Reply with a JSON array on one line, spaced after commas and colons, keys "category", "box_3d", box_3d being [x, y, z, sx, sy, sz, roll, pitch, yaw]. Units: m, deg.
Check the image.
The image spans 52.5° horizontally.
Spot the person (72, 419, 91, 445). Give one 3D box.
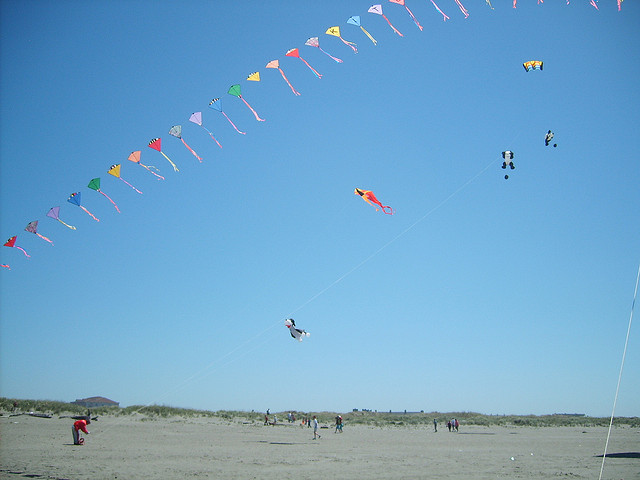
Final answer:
[{"category": "person", "box_3d": [-15.020, 11.957, 40.372, 0.862, 1.489, 1.176, 10, -18, -19]}]

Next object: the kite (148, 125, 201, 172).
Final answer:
[{"category": "kite", "box_3d": [-7.438, -4.026, 31.477, 2.009, 0.614, 1.612, 37, 5, -4]}]
